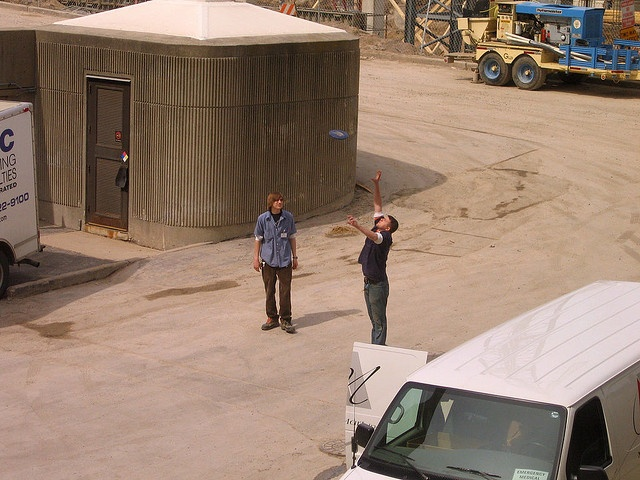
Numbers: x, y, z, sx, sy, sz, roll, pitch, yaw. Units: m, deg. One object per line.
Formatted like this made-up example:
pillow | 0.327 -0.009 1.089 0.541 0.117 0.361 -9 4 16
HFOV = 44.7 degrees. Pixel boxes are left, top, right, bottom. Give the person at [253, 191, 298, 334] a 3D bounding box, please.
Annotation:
person | -0.690 0.356 12.227 0.638 2.211 0.651 -1 18 -4

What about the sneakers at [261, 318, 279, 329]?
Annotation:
sneakers | -0.779 1.364 12.433 0.265 0.281 0.128 4 14 -4
